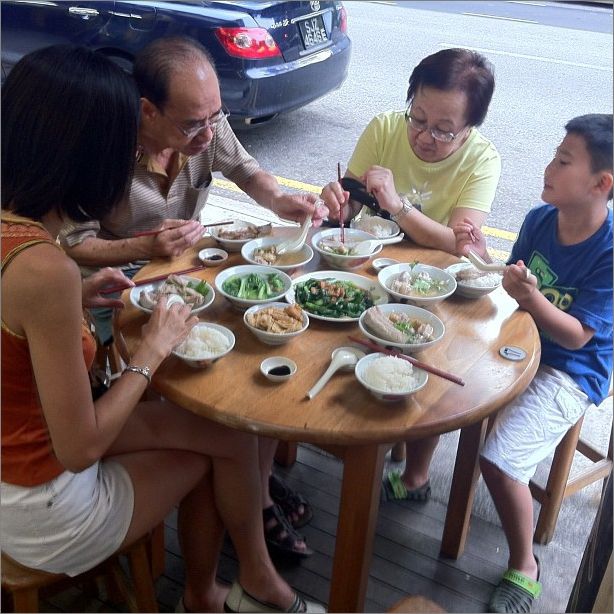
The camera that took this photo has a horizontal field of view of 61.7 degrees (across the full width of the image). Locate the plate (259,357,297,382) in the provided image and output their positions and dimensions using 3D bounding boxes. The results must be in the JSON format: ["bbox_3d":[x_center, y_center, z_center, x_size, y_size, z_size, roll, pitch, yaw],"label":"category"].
[{"bbox_3d":[-0.081,0.199,1.593,0.085,0.027,0.081,15,33,15],"label":"plate"}]

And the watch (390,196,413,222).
[{"bbox_3d":[0.464,-0.467,2.506,0.047,0.105,0.116,37,73,3],"label":"watch"}]

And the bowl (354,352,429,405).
[{"bbox_3d":[0.232,0.196,1.511,0.195,0.130,0.210,2,28,-1],"label":"bowl"}]

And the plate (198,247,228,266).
[{"bbox_3d":[-0.413,-0.216,2.250,0.097,0.032,0.097,30,48,24],"label":"plate"}]

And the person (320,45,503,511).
[{"bbox_3d":[0.215,-0.151,3.035,0.967,2.485,1.167,13,36,7],"label":"person"}]

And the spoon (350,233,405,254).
[{"bbox_3d":[0.331,-0.298,2.411,0.092,0.079,0.324,30,28,36],"label":"spoon"}]

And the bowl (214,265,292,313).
[{"bbox_3d":[-0.219,-0.080,1.954,0.231,0.074,0.212,1,31,-1],"label":"bowl"}]

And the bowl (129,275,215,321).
[{"bbox_3d":[-0.472,-0.054,1.886,0.214,0.055,0.200,-1,21,0],"label":"bowl"}]

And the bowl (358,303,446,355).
[{"bbox_3d":[0.325,0.074,1.729,0.219,0.071,0.201,6,32,-4],"label":"bowl"}]

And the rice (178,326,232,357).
[{"bbox_3d":[-0.324,0.116,1.621,0.114,0.039,0.106,-6,28,-25],"label":"rice"}]

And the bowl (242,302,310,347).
[{"bbox_3d":[-0.108,0.066,1.733,0.144,0.076,0.154,0,26,0],"label":"bowl"}]

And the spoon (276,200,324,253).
[{"bbox_3d":[-0.017,-0.393,2.370,0.066,0.086,0.429,5,42,29],"label":"spoon"}]

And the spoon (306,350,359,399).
[{"bbox_3d":[0.100,0.216,1.574,0.187,0.115,0.170,3,31,5],"label":"spoon"}]

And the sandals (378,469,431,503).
[{"bbox_3d":[0.460,0.912,2.605,0.288,0.102,0.110,4,38,-8],"label":"sandals"}]

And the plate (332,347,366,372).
[{"bbox_3d":[0.139,0.164,1.668,0.083,0.029,0.081,18,35,26],"label":"plate"}]
